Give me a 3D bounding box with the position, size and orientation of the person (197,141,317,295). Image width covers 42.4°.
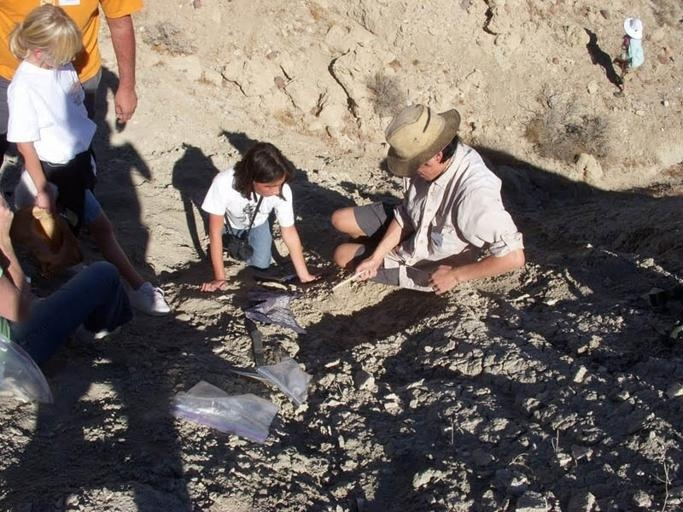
[{"bbox_3d":[-0.772,-0.366,8.174,0.961,1.388,0.937,4,12,-3],"label":"person"}]

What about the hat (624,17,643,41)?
[{"bbox_3d":[3.943,-3.053,11.953,0.236,0.278,0.354,8,12,15],"label":"hat"}]

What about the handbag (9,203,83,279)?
[{"bbox_3d":[-2.408,-0.136,7.264,0.435,0.580,0.295,-47,18,-21],"label":"handbag"}]

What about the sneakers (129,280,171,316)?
[{"bbox_3d":[-1.667,0.380,7.786,0.400,0.190,0.203,19,31,21],"label":"sneakers"}]
